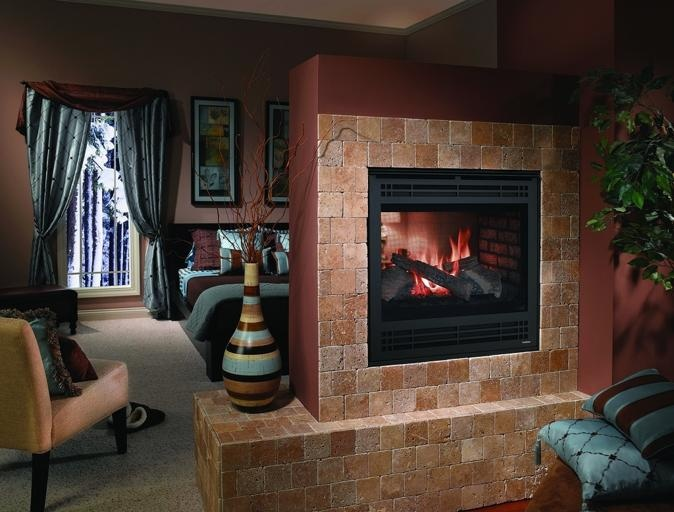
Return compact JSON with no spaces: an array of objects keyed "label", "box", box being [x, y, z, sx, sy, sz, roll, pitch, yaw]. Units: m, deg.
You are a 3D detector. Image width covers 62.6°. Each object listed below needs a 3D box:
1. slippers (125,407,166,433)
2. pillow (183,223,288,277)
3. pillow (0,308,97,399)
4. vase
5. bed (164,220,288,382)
[{"label":"slippers","box":[-1.311,1.102,3.775,0.117,0.086,0.217,13,9,34]},{"label":"pillow","box":[-1.341,-0.150,6.114,1.044,0.663,0.284,0,-19,-12]},{"label":"pillow","box":[-1.560,0.537,2.991,0.148,0.532,0.425,-15,-13,11]},{"label":"vase","box":[-0.450,0.403,2.886,0.281,0.742,0.167,-2,4,-12]},{"label":"bed","box":[-1.081,0.334,5.360,1.162,0.950,1.745,-1,4,-20]}]
